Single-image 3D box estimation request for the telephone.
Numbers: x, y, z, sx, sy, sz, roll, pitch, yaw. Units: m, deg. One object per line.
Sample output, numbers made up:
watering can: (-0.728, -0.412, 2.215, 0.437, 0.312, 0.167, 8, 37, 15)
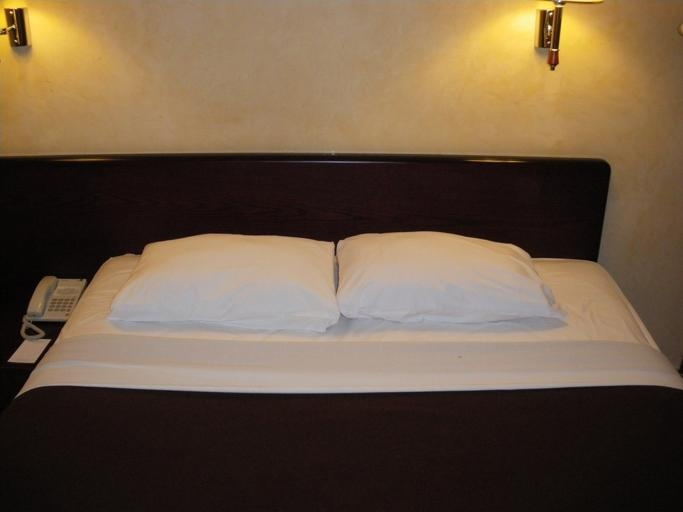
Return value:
telephone: (-1.370, 0.227, 2.479, 0.214, 0.135, 0.370, 9, 29, -5)
